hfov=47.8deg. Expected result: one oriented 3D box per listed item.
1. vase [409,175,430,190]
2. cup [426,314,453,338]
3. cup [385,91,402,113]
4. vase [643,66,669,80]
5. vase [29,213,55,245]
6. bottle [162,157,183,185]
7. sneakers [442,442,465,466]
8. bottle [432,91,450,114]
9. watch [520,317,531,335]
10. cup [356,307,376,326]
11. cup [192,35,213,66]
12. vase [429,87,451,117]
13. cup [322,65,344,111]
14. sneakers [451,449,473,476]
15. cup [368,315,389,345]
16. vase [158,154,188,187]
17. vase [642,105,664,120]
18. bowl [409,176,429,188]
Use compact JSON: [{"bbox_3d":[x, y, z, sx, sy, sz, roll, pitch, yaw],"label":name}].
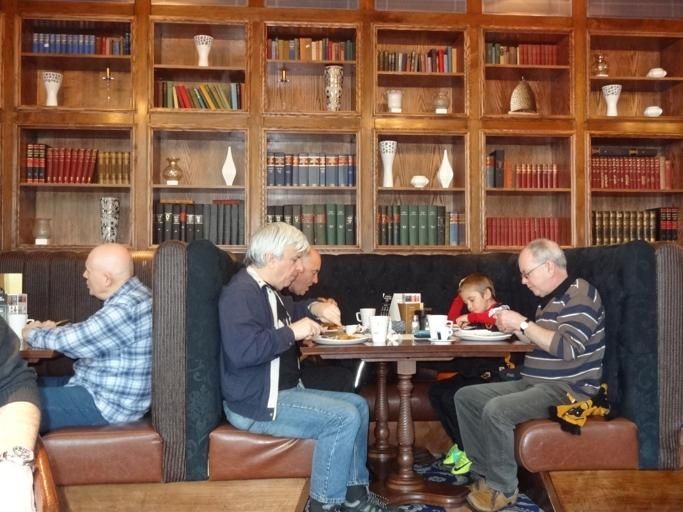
[{"bbox_3d":[0.635,-0.592,6.201,0.117,0.086,0.130,1,1,-8],"label":"vase"},{"bbox_3d":[0.502,0.379,4.109,0.143,0.128,0.091,1,-2,-14],"label":"cup"},{"bbox_3d":[0.395,-1.223,6.210,0.172,0.187,0.158,0,-8,0],"label":"cup"},{"bbox_3d":[2.582,-1.488,6.312,0.206,0.155,0.056,-4,-5,20],"label":"vase"},{"bbox_3d":[-2.319,-0.203,6.069,0.205,0.303,0.200,2,-3,3],"label":"vase"},{"bbox_3d":[-1.360,-0.677,6.179,0.147,0.253,0.396,-1,-1,-13],"label":"bottle"},{"bbox_3d":[0.675,1.189,4.576,0.064,0.160,0.104,30,3,-14],"label":"sneakers"},{"bbox_3d":[0.797,-1.229,6.221,0.135,0.184,0.185,0,-2,-2],"label":"bottle"},{"bbox_3d":[0.964,0.365,4.071,0.045,0.071,0.070,6,3,18],"label":"watch"},{"bbox_3d":[0.152,0.359,4.636,0.095,0.134,0.141,0,2,-36],"label":"cup"},{"bbox_3d":[-1.094,-1.607,6.098,0.128,0.292,0.259,-1,-1,-7],"label":"cup"},{"bbox_3d":[0.799,-1.240,6.245,0.173,0.247,0.246,0,-1,-15],"label":"vase"},{"bbox_3d":[-0.060,-1.320,6.164,0.152,0.371,0.218,-1,-1,-1],"label":"cup"},{"bbox_3d":[0.674,1.191,4.429,0.083,0.094,0.244,-6,-14,26],"label":"sneakers"},{"bbox_3d":[0.193,0.377,3.969,0.127,0.150,0.127,-2,-4,0],"label":"cup"},{"bbox_3d":[-1.410,-0.679,6.232,0.239,0.293,0.242,-2,-6,27],"label":"vase"},{"bbox_3d":[2.558,-1.176,6.310,0.172,0.113,0.159,2,-2,-27],"label":"vase"},{"bbox_3d":[0.631,-0.590,6.211,0.108,0.076,0.120,0,3,-4],"label":"bowl"}]
